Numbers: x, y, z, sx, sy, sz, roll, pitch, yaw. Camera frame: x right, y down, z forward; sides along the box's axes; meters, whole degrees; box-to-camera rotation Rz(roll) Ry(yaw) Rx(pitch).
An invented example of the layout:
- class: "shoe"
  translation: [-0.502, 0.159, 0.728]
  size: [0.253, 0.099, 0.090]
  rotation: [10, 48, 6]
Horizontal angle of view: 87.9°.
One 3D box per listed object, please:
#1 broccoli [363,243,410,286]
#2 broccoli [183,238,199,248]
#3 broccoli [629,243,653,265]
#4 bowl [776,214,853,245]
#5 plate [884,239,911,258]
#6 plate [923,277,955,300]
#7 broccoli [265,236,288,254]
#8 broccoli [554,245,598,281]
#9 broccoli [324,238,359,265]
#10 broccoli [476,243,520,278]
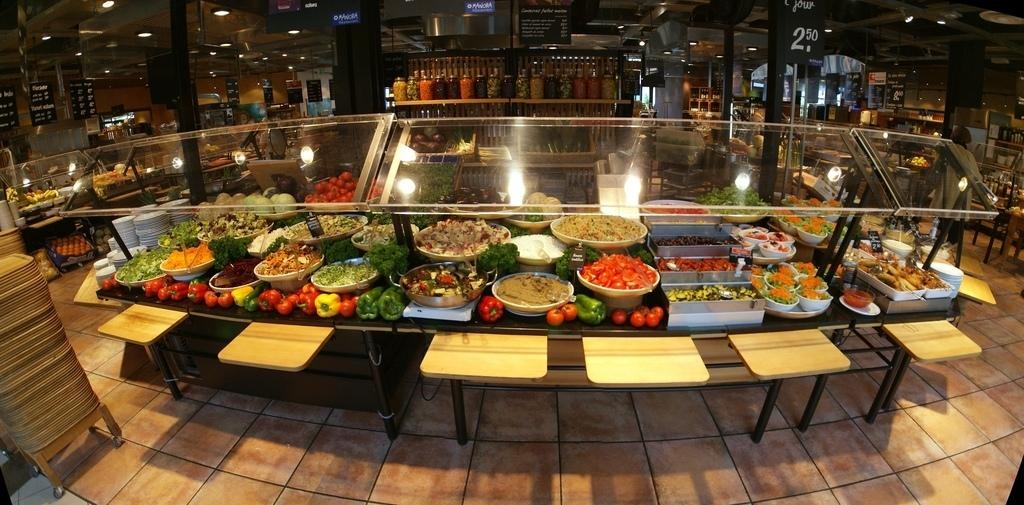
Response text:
- class: "broccoli"
  translation: [-1.850, 0.170, 7.874]
  size: [0.642, 0.392, 0.627]
  rotation: [-4, 12, -39]
- class: "broccoli"
  translation: [-5.111, -0.154, 8.474]
  size: [0.180, 0.058, 0.183]
  rotation: [-10, 19, -31]
- class: "broccoli"
  translation: [1.973, 0.023, 8.066]
  size: [0.321, 0.179, 0.337]
  rotation: [3, 3, 3]
- class: "bowl"
  translation: [4.668, -0.388, 8.406]
  size: [0.682, 0.203, 0.608]
  rotation: [4, 24, 10]
- class: "plate"
  translation: [6.215, -0.056, 8.537]
  size: [0.359, 0.096, 0.316]
  rotation: [-3, 18, -6]
- class: "plate"
  translation: [6.310, 0.550, 7.806]
  size: [0.479, 0.258, 0.298]
  rotation: [-20, 30, -37]
- class: "broccoli"
  translation: [-3.639, -0.114, 8.205]
  size: [0.313, 0.126, 0.219]
  rotation: [-29, 14, 14]
- class: "broccoli"
  translation: [0.989, 0.033, 7.907]
  size: [0.300, 0.532, 0.574]
  rotation: [38, 25, -24]
- class: "broccoli"
  translation: [-2.629, -0.008, 8.148]
  size: [0.444, 0.199, 0.396]
  rotation: [-7, 15, 5]
- class: "broccoli"
  translation: [-0.201, 0.115, 7.831]
  size: [0.602, 0.422, 0.492]
  rotation: [8, 8, 33]
